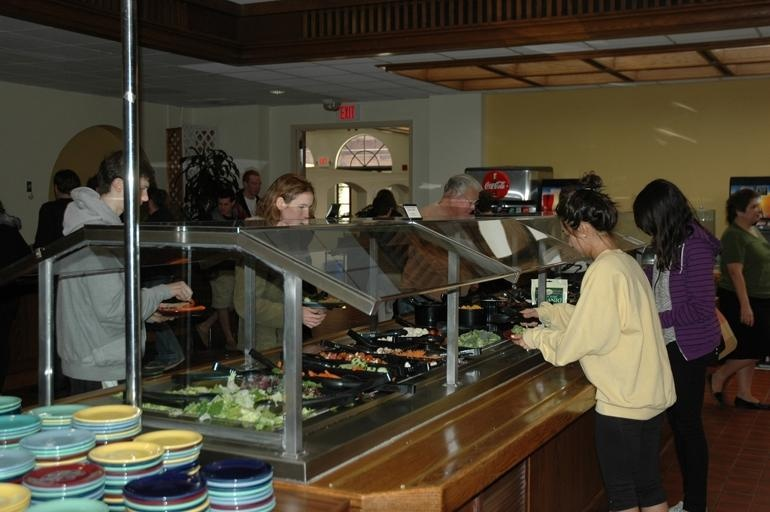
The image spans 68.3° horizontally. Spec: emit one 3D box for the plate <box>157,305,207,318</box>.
[{"bbox_3d":[-0.725,0.186,2.022,0.179,0.052,0.031,1,6,21],"label":"plate"}]

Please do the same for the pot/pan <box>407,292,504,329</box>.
[{"bbox_3d":[0.428,0.311,3.217,0.416,0.084,0.254,-1,2,-14],"label":"pot/pan"}]

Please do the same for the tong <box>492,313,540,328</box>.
[{"bbox_3d":[0.739,0.360,3.225,0.158,0.035,0.147,1,-1,42],"label":"tong"}]

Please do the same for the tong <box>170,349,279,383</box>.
[{"bbox_3d":[-0.537,0.368,1.905,0.334,0.063,0.159,-6,-5,10],"label":"tong"}]
